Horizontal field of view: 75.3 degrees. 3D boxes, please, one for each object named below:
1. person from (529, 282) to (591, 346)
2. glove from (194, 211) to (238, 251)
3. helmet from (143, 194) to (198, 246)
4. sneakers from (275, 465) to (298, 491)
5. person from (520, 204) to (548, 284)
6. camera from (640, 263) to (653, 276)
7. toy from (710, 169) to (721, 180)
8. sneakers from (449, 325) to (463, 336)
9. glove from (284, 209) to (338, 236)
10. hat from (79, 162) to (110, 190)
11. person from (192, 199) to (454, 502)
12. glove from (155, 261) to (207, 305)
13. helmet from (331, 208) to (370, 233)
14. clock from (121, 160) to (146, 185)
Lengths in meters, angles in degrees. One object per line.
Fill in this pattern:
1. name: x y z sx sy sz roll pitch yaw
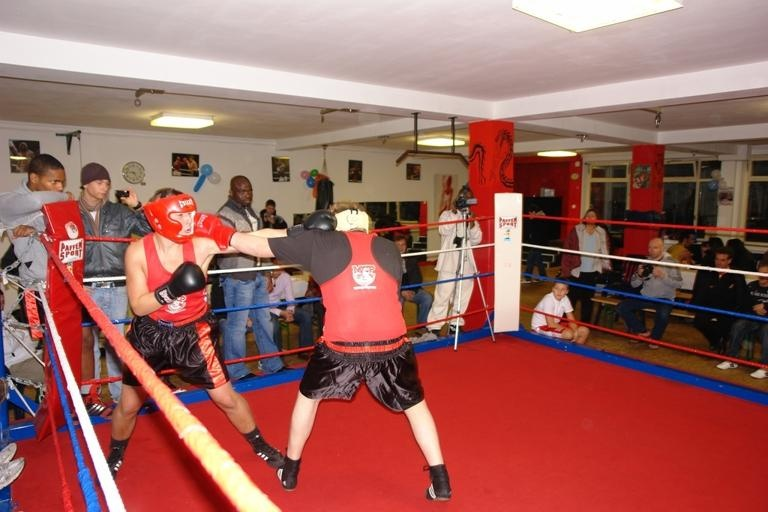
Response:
1. person: 1.937 0.580 5.396 0.496 0.748 0.681 7 14 43
2. glove: -1.049 -0.144 3.091 0.301 0.106 0.177 27 27 26
3. helmet: -1.297 -0.231 3.031 0.307 0.257 0.248 1 5 13
4. sneakers: -0.612 1.415 3.220 0.098 0.150 0.233 2 2 -11
5. person: 3.596 -0.429 11.949 0.528 1.474 3.764 0 10 18
6. camera: 3.378 0.175 6.396 0.112 0.036 0.152 -3 32 25
7. toy: 7.450 -1.819 11.168 0.057 0.251 0.207 -8 11 -22
8. sneakers: 0.834 0.862 5.733 0.166 0.115 0.247 0 -6 4
9. glove: -0.444 -0.210 3.065 0.234 0.086 0.160 -18 5 3
10. hat: -2.328 -0.649 4.002 0.220 0.182 0.213 11 7 2
11. person: -0.196 0.656 3.077 1.147 1.662 0.253 -2 11 8
12. glove: -1.134 0.143 2.892 0.285 0.197 0.114 -36 4 13
13. helmet: -0.197 -0.225 3.202 0.200 0.135 0.151 -2 3 -5
14. clock: -4.440 -1.479 8.823 0.386 0.355 0.371 -15 13 -32
